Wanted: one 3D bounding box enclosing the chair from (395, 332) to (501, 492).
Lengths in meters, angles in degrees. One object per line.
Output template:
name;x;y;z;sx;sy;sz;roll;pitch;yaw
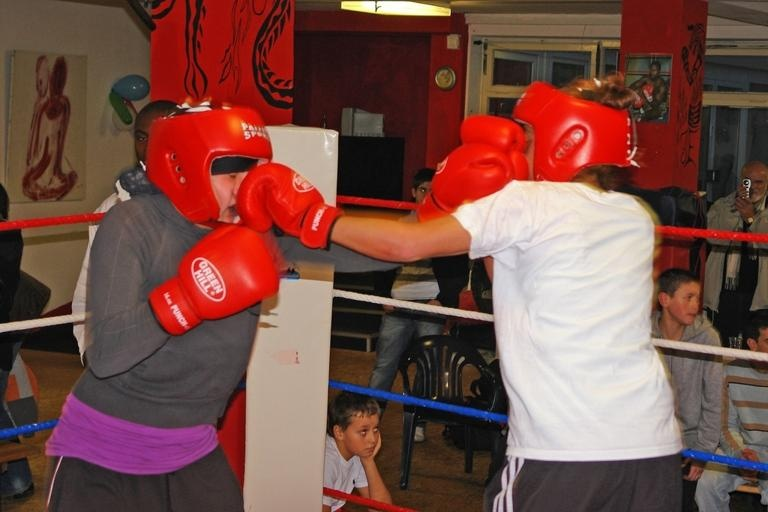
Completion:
chair;0.336;0.863;3.956;0.605;0.697;0.561;11;-14;-34

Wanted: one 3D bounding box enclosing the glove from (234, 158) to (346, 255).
glove;-0.248;-0.136;2.001;0.297;0.211;0.116;21;-15;8

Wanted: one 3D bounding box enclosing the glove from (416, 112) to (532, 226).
glove;0.277;-0.285;2.092;0.350;0.185;0.261;-28;25;25

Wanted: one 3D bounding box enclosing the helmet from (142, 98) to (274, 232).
helmet;-0.523;-0.306;2.189;0.374;0.326;0.288;11;11;17

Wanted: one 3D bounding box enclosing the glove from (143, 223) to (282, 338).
glove;-0.457;0.062;1.959;0.370;0.245;0.131;-25;-6;-9

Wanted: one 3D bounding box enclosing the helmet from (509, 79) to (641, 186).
helmet;0.553;-0.353;2.160;0.345;0.236;0.257;22;10;8
